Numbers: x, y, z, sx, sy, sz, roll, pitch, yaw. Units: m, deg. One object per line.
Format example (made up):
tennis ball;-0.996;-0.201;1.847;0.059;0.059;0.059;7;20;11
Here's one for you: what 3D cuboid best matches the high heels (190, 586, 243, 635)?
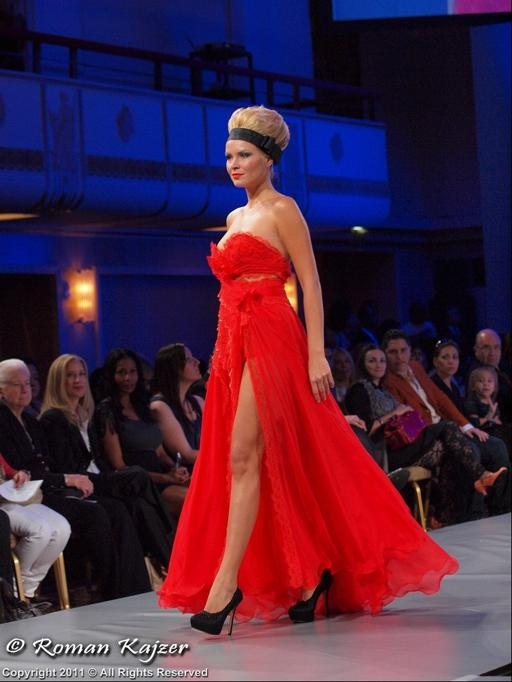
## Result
high heels;-0.088;0.645;1.408;0.101;0.103;0.107;-10;-16;21
